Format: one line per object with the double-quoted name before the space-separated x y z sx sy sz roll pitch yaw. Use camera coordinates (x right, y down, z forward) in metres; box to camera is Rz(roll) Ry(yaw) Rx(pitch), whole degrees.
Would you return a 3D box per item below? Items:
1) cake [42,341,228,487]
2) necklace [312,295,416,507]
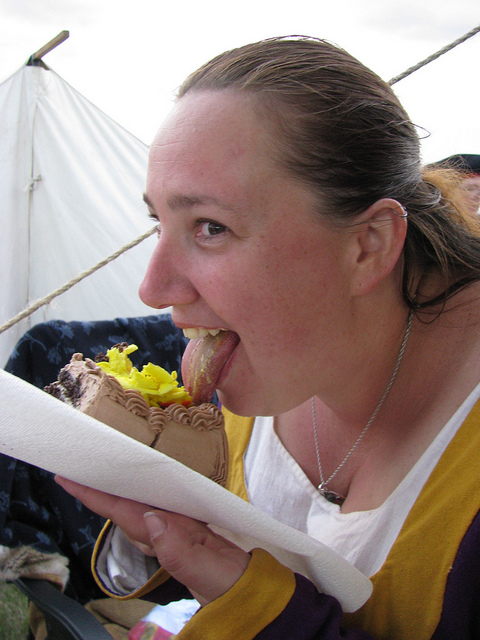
"cake" -0.184 0.146 1.166 0.309 0.166 0.297 29 -8 -28
"necklace" 0.214 0.166 1.270 0.077 0.399 0.132 12 14 2
